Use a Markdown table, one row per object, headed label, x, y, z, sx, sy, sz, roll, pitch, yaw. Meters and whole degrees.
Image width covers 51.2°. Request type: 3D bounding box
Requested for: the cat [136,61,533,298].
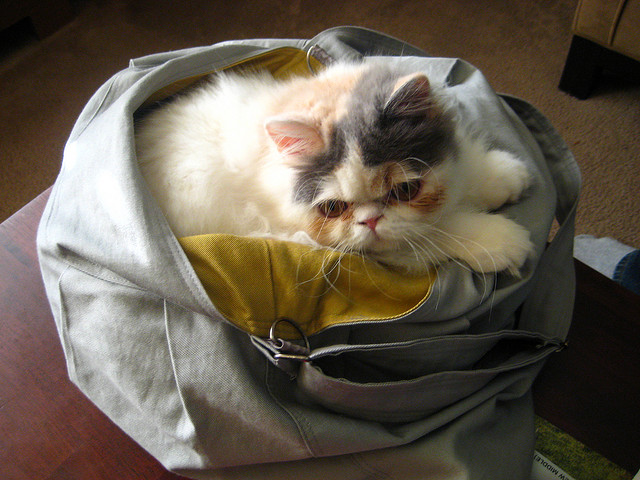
| label | x | y | z | sx | sy | sz | roll | pitch | yaw |
| --- | --- | --- | --- | --- | --- | --- | --- | --- | --- |
| cat | 0.031 | -0.149 | 1.262 | 0.758 | 0.278 | 0.572 | -3 | 44 | 24 |
